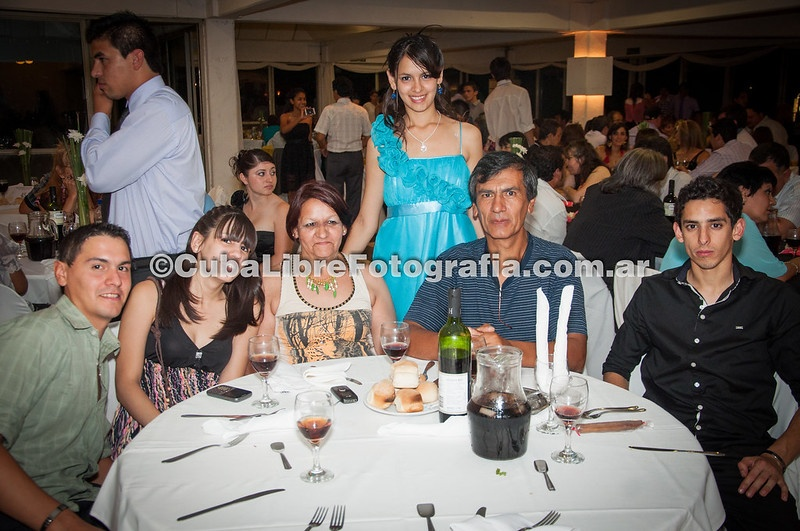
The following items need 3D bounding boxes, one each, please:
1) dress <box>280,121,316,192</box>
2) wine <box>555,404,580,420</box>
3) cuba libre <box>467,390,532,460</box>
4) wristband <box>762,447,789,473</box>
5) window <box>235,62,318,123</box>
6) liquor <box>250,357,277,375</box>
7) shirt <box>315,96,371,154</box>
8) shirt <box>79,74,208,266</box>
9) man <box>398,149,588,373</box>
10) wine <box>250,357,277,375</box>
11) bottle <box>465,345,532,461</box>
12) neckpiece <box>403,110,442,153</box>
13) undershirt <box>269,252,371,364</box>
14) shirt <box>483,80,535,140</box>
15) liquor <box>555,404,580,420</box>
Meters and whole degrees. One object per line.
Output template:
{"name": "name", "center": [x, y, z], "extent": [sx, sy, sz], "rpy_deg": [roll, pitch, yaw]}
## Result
{"name": "dress", "center": [-1.664, -1.928, 9.458], "extent": [0.449, 1.290, 0.433], "rpy_deg": [-9, 53, -15]}
{"name": "wine", "center": [0.539, 0.476, 1.833], "extent": [0.050, 0.067, 0.052], "rpy_deg": [-4, 13, -5]}
{"name": "cuba libre", "center": [0.321, 0.524, 1.931], "extent": [0.213, 0.217, 0.214], "rpy_deg": [-3, 9, -34]}
{"name": "wristband", "center": [1.468, 0.764, 2.225], "extent": [0.024, 0.086, 0.084], "rpy_deg": [-41, -11, 11]}
{"name": "window", "center": [-3.701, -5.082, 16.499], "extent": [2.183, 0.073, 2.390], "rpy_deg": [-4, -23, -13]}
{"name": "liquor", "center": [-0.530, 0.388, 2.236], "extent": [0.075, 0.057, 0.078], "rpy_deg": [1, -4, -6]}
{"name": "shirt", "center": [-0.902, -2.232, 9.004], "extent": [0.809, 0.853, 0.395], "rpy_deg": [-3, 10, -6]}
{"name": "shirt", "center": [-1.417, -0.574, 3.227], "extent": [0.605, 1.048, 0.464], "rpy_deg": [-7, 29, -18]}
{"name": "man", "center": [0.423, 0.219, 2.707], "extent": [0.891, 1.376, 0.746], "rpy_deg": [-1, 9, 4]}
{"name": "wine", "center": [-0.534, 0.391, 2.235], "extent": [0.075, 0.057, 0.078], "rpy_deg": [1, -4, -6]}
{"name": "bottle", "center": [0.328, 0.470, 1.924], "extent": [0.207, 0.338, 0.213], "rpy_deg": [0, 3, 0]}
{"name": "neckpiece", "center": [0.135, -0.785, 3.394], "extent": [0.225, 0.242, 0.093], "rpy_deg": [-4, 4, -3]}
{"name": "undershirt", "center": [-0.375, 0.324, 2.947], "extent": [0.433, 0.321, 0.600], "rpy_deg": [7, 52, -14]}
{"name": "shirt", "center": [1.662, -2.474, 9.038], "extent": [0.791, 0.904, 0.428], "rpy_deg": [8, 13, 45]}
{"name": "liquor", "center": [0.539, 0.476, 1.832], "extent": [0.050, 0.067, 0.052], "rpy_deg": [-4, 13, -5]}
